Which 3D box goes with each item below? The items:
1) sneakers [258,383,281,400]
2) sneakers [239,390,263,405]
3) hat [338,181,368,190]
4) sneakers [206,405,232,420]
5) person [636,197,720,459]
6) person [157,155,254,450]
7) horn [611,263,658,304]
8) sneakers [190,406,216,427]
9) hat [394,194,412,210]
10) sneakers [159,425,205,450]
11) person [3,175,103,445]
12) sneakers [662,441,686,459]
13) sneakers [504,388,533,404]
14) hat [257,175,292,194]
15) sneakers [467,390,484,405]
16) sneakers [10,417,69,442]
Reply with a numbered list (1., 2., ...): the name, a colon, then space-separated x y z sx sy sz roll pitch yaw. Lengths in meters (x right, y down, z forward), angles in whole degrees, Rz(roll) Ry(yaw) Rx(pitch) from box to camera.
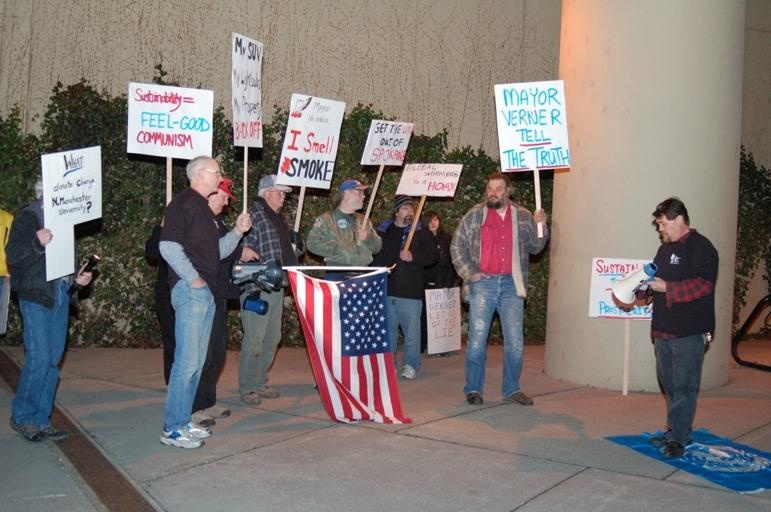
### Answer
1. sneakers: -1.599 1.851 8.380 0.256 0.119 0.142 -2 -2 40
2. sneakers: -1.754 1.861 8.058 0.130 0.116 0.269 0 -4 -33
3. hat: -0.439 -0.968 8.386 0.304 0.127 0.205 -4 5 -4
4. sneakers: -2.052 1.940 7.592 0.316 0.148 0.122 -3 4 2
5. person: 3.182 0.752 6.704 0.617 2.734 0.620 -7 10 -44
6. person: -2.045 0.488 6.713 0.479 3.142 0.826 7 10 41
7. horn: 2.742 0.213 6.758 0.313 0.322 0.503 3 -21 -26
8. sneakers: -2.194 1.916 7.292 0.361 0.167 0.128 17 -4 13
9. hat: 0.256 -0.901 9.930 0.255 0.153 0.226 -22 -8 36
10. sneakers: -2.203 1.962 6.711 0.461 0.236 0.193 5 1 2
11. person: -3.787 0.599 6.815 0.754 2.854 0.643 -6 10 -42
12. sneakers: 3.101 2.080 6.610 0.186 0.154 0.149 14 -7 -8
13. sneakers: 1.789 1.875 8.216 0.336 0.143 0.162 -7 -5 44
14. hat: -1.504 -0.982 8.339 0.357 0.204 0.242 0 10 -6
15. sneakers: 1.191 1.880 8.116 0.135 0.086 0.205 4 -35 3
16. sneakers: -3.754 1.933 6.781 0.625 0.277 0.259 2 2 0
